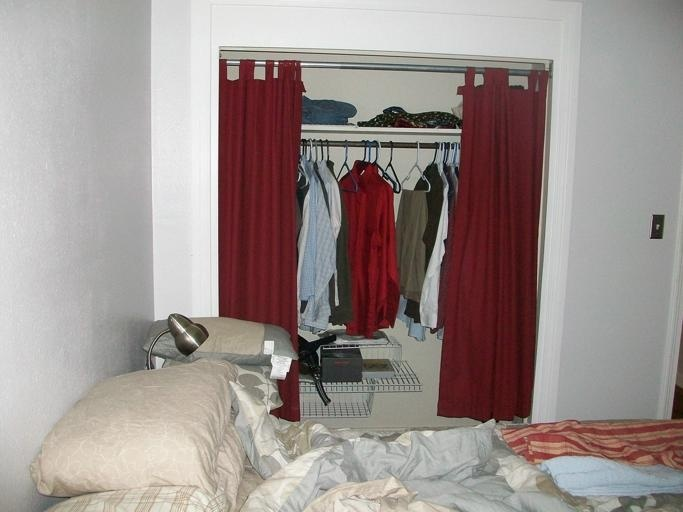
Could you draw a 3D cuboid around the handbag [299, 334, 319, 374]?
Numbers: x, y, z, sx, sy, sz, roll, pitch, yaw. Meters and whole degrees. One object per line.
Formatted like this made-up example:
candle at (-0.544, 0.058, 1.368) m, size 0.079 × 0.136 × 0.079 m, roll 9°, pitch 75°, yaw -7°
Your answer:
handbag at (-0.190, 0.556, 3.402) m, size 0.124 × 0.189 × 0.058 m, roll -11°, pitch -1°, yaw -27°
